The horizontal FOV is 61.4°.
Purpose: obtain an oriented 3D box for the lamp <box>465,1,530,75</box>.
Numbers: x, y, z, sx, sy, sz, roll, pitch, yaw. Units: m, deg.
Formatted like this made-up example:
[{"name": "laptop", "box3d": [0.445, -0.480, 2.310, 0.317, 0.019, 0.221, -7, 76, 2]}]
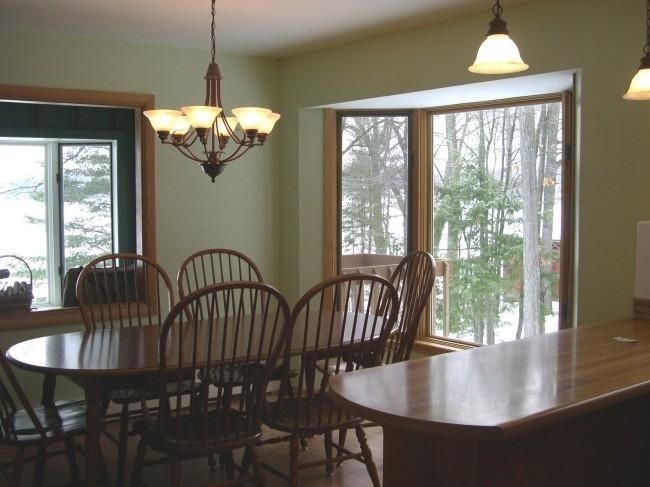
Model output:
[{"name": "lamp", "box3d": [0.744, -0.886, 2.353, 0.194, 0.292, 0.150, -5, 7, -15]}]
